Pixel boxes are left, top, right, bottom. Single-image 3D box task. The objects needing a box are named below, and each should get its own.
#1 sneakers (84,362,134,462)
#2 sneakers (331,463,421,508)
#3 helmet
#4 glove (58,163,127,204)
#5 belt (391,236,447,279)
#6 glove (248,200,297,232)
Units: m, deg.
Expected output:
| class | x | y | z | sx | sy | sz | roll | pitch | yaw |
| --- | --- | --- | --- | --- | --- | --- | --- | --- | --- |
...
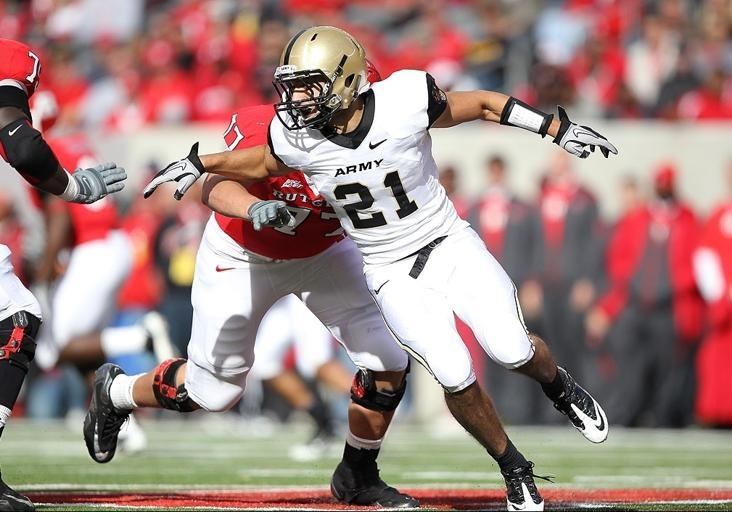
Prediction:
| class | x | y | z | sx | sy | sz | roll | pitch | yaw |
| --- | --- | --- | --- | --- | --- | --- | --- | --- | --- |
| sneakers | -1.506 | 0.922 | 5.519 | 0.289 | 0.646 | 0.210 | 4 | 1 | 27 |
| sneakers | 0.041 | 1.273 | 5.224 | 0.520 | 0.249 | 0.195 | 4 | -6 | 16 |
| helmet | -0.240 | -0.954 | 4.844 | 0.587 | 0.513 | 0.427 | -22 | 20 | -38 |
| glove | -1.449 | -0.374 | 4.944 | 0.193 | 0.116 | 0.312 | 12 | 6 | 34 |
| belt | 0.274 | 0.007 | 4.801 | 0.118 | 0.235 | 0.042 | 30 | -20 | 23 |
| glove | -0.482 | -0.211 | 4.615 | 0.202 | 0.133 | 0.187 | -7 | 5 | -17 |
